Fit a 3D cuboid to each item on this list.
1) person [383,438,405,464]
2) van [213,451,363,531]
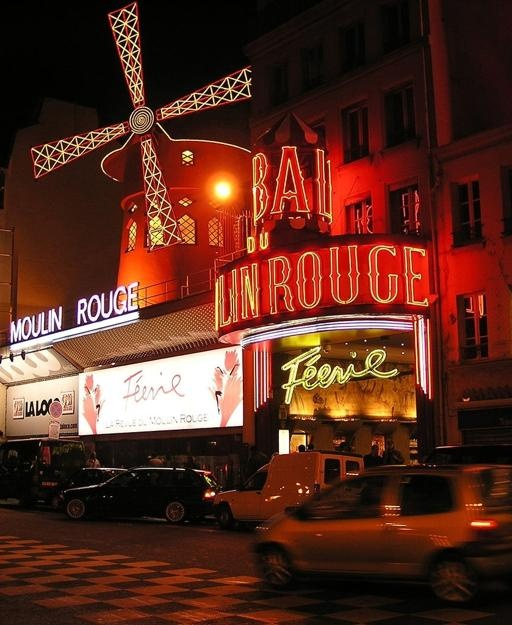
[{"bbox_3d":[3.471,3.619,17.896,0.471,0.472,0.943,-13,-7,6],"label":"person"},{"bbox_3d":[0.683,3.958,15.112,1.698,1.465,3.186,18,-26,-41],"label":"van"}]
